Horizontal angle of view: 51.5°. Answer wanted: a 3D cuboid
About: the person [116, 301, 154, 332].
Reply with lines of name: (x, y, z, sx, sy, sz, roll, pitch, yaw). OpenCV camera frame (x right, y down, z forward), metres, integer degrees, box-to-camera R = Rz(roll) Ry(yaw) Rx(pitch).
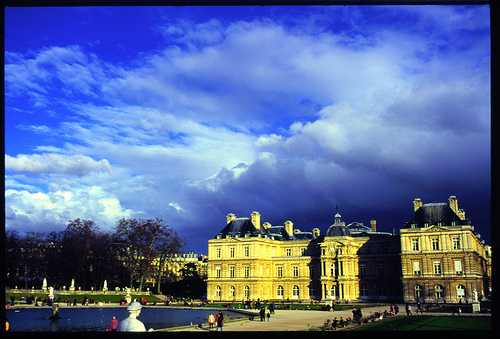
person: (-4.541, 5.669, 19.824, 1.457, 1.153, 0.776, -10, -16, 32)

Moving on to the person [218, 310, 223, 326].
person: (-2.182, 10.434, 36.179, 0.322, 0.989, 0.937, 3, -17, -5)
